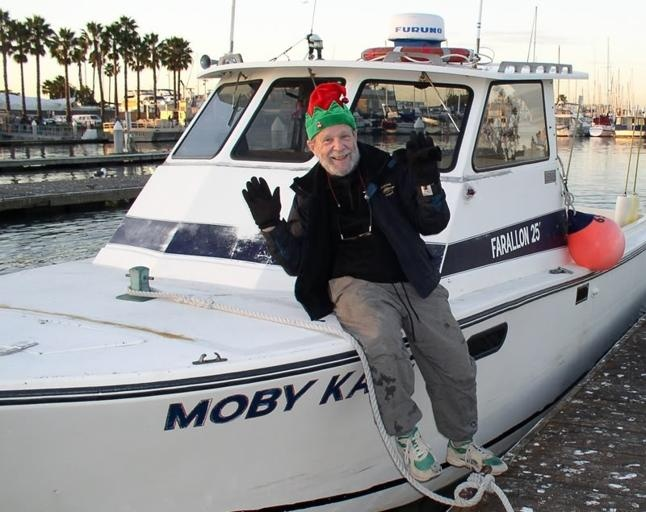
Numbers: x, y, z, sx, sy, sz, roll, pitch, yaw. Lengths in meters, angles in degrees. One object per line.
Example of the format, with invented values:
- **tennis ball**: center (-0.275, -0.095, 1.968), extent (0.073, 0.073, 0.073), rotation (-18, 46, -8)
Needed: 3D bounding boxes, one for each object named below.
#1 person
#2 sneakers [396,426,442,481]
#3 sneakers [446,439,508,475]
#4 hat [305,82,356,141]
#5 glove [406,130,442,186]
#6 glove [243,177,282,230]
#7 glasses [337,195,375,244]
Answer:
- **person**: center (0.313, 0.165, 2.810), extent (1.139, 2.065, 0.603), rotation (4, 14, 22)
- **sneakers**: center (0.474, 1.013, 2.774), extent (0.152, 0.133, 0.347), rotation (-12, 19, -15)
- **sneakers**: center (0.810, 1.091, 2.972), extent (0.348, 0.152, 0.150), rotation (6, 16, 11)
- **hat**: center (0.009, -0.738, 2.820), extent (0.245, 0.290, 0.302), rotation (-7, 4, -12)
- **glove**: center (0.479, -0.474, 2.609), extent (0.179, 0.234, 0.103), rotation (-8, 9, 7)
- **glove**: center (-0.301, -0.259, 2.690), extent (0.170, 0.269, 0.111), rotation (-2, 13, -3)
- **glasses**: center (0.150, -0.179, 2.736), extent (0.197, 0.216, 0.058), rotation (-8, 6, 16)
